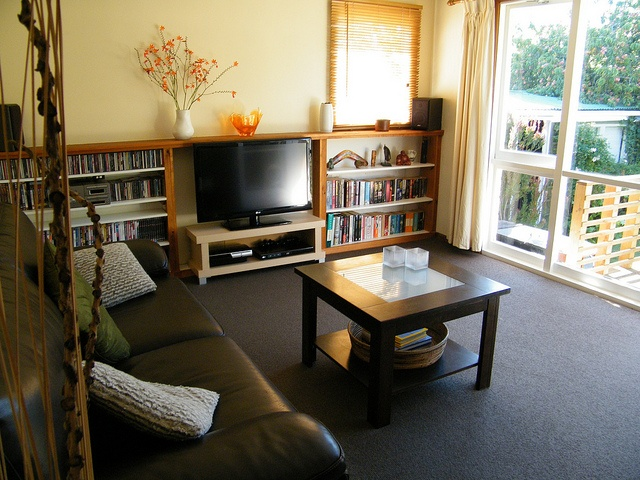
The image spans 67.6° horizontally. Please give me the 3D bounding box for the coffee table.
[{"bbox_3d":[0.390,0.308,2.821,0.924,0.687,0.931,-11,22,-28],"label":"coffee table"}]

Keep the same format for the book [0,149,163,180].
[{"bbox_3d":[-1.863,-0.623,3.874,1.157,0.192,0.255,-11,18,-22],"label":"book"}]

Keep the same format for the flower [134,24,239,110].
[{"bbox_3d":[-1.136,-1.575,4.272,0.678,0.622,0.572,13,30,18],"label":"flower"}]

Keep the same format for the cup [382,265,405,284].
[{"bbox_3d":[0.444,0.212,2.941,0.096,0.063,0.094,0,19,0],"label":"cup"}]

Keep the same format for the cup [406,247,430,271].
[{"bbox_3d":[0.599,0.105,3.043,0.133,0.134,0.131,-1,15,0],"label":"cup"}]

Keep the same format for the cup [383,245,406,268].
[{"bbox_3d":[0.456,0.097,3.093,0.133,0.135,0.130,0,20,0],"label":"cup"}]

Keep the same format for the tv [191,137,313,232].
[{"bbox_3d":[-0.657,-0.531,4.346,0.780,0.592,0.187,-7,14,-28],"label":"tv"}]

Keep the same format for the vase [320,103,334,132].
[{"bbox_3d":[0.059,-1.222,4.759,0.136,0.283,0.122,-7,16,-11],"label":"vase"}]

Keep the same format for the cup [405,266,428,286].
[{"bbox_3d":[0.582,0.217,2.895,0.096,0.064,0.100,0,14,0],"label":"cup"}]

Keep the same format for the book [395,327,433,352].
[{"bbox_3d":[0.514,0.525,2.683,0.151,0.040,0.152,-14,17,-27],"label":"book"}]

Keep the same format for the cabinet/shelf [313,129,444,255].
[{"bbox_3d":[0.601,-0.529,5.096,1.374,1.271,0.414,-8,6,-17],"label":"cabinet/shelf"}]

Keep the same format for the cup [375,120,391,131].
[{"bbox_3d":[0.655,-1.232,5.048,0.116,0.091,0.121,3,24,-1],"label":"cup"}]
